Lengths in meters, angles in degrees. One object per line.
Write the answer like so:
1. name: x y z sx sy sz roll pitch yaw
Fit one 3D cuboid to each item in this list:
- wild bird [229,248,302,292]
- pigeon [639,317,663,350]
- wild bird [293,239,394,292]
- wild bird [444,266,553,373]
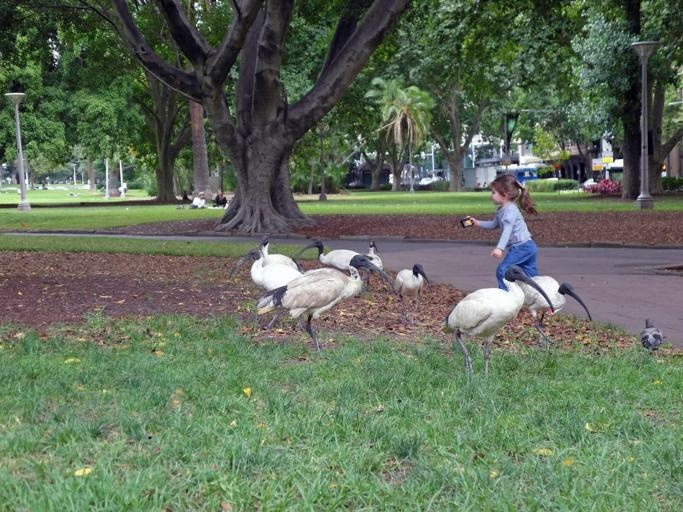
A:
1. wild bird: -1.128 0.292 14.452 1.296 0.931 0.567 -2 20 -16
2. pigeon: 4.462 1.160 12.773 0.316 0.351 0.563 0 6 19
3. wild bird: -0.050 0.226 17.199 2.090 1.327 0.810 -1 2 1
4. wild bird: 1.958 0.848 11.749 1.117 1.383 0.538 -2 6 4
